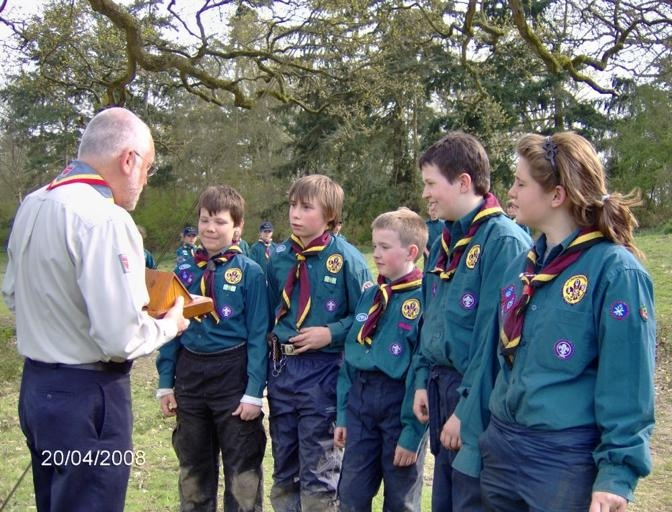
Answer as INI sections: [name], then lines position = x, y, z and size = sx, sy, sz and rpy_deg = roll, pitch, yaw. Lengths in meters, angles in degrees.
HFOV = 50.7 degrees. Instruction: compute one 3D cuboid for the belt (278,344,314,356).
[belt]
position = -0.293, 0.673, 5.125
size = 0.262, 0.110, 0.077
rpy_deg = -2, -5, 22
